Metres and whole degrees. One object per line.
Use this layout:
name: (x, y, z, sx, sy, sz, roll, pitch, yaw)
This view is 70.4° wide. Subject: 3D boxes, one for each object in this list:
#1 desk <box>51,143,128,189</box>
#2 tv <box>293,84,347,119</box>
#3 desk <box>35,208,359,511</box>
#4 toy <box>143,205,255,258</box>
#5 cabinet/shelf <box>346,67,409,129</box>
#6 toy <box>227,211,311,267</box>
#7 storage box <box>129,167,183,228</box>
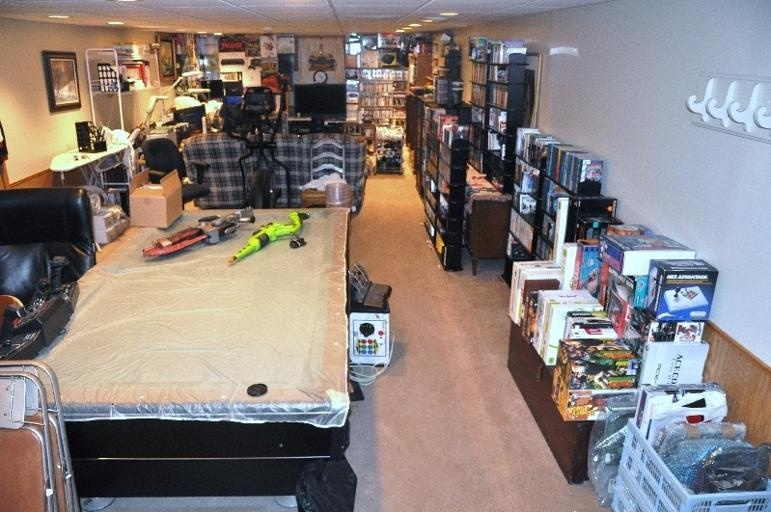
desk: (-4.122, -1.336, 7.489, 0.575, 0.299, 1.411, 1, 16, 11)
tv: (-1.296, -3.119, 10.970, 0.838, 0.541, 0.112, 1, 29, 1)
desk: (-1.232, 0.575, 4.117, 2.104, 0.704, 2.787, 0, 23, 2)
toy: (-1.529, -0.212, 4.586, 0.310, 0.223, 0.933, 25, 41, 28)
cabinet/shelf: (-0.167, -3.943, 13.715, 1.539, 1.386, 0.517, 6, 13, 17)
toy: (-0.969, -0.193, 4.577, 0.313, 0.206, 0.636, 6, 29, 34)
storage box: (-2.090, -0.522, 4.968, 0.333, 0.421, 0.456, 2, 15, -8)
